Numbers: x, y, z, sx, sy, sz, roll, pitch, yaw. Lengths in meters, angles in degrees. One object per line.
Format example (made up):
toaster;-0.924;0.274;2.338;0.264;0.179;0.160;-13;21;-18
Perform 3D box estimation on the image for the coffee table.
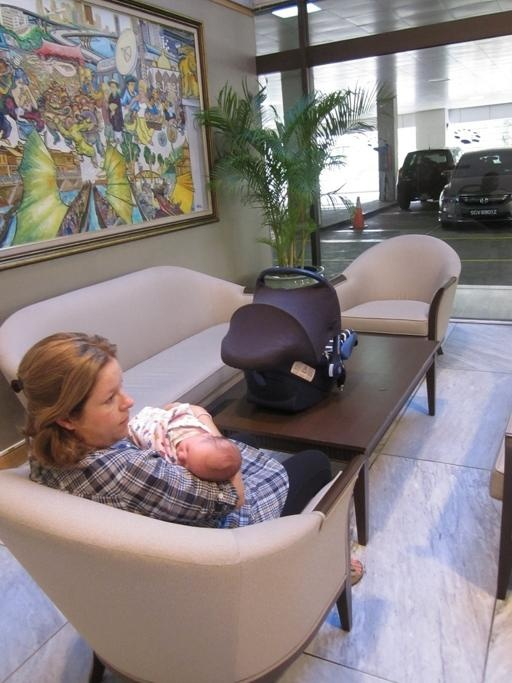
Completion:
coffee table;0.280;0.254;2.239;0.779;0.484;1.312;4;18;26
